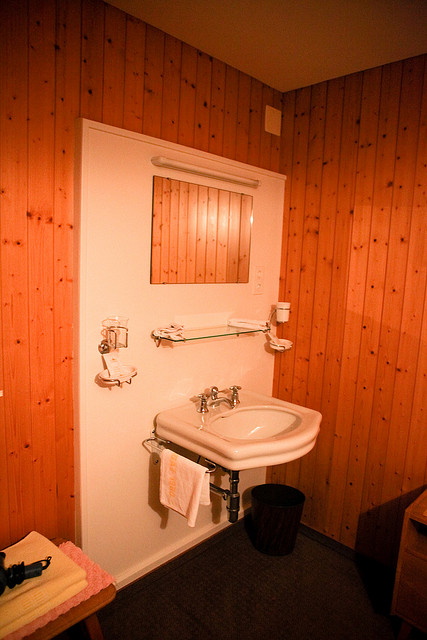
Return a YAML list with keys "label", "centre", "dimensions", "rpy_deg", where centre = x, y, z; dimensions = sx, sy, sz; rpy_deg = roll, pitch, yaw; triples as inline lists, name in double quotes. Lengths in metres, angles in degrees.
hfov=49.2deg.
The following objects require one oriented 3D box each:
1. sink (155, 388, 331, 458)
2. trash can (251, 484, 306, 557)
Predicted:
- label: "sink"
  centre: [0.150, 0.441, 1.974]
  dimensions: [0.613, 0.173, 0.564]
  rpy_deg: [-3, 9, -45]
- label: "trash can"
  centre: [0.310, 0.954, 2.317]
  dimensions: [0.227, 0.255, 0.275]
  rpy_deg: [0, 4, -10]
